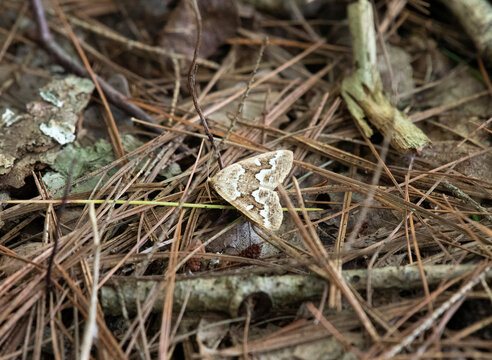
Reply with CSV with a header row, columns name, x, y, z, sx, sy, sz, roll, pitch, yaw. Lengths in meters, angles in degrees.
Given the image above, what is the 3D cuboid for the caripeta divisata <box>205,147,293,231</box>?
name,x,y,z,sx,sy,sz,roll,pitch,yaw
caripeta divisata,0.061,0.009,3.350,0.584,0.158,0.624,29,61,8
